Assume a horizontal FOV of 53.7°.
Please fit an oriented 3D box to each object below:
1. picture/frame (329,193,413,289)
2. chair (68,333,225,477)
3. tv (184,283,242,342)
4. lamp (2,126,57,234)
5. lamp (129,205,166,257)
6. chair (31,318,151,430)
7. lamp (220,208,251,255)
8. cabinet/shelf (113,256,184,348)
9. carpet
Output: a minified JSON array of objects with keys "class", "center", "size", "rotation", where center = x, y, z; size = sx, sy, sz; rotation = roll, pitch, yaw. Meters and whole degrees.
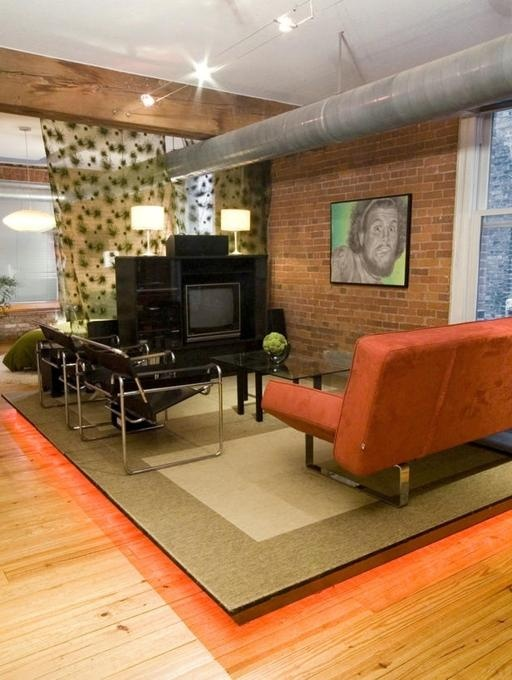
[{"class":"picture/frame","center":[1.249,-1.089,5.514],"size":[1.218,0.922,0.030],"rotation":[-12,16,-32]},{"class":"chair","center":[-0.831,0.434,3.664],"size":[0.767,0.673,1.123],"rotation":[-3,2,-33]},{"class":"tv","center":[-0.545,-0.343,6.105],"size":[0.743,0.564,0.367],"rotation":[-5,9,-35]},{"class":"lamp","center":[-3.798,-2.500,8.289],"size":[0.842,1.352,2.773],"rotation":[-5,8,-20]},{"class":"lamp","center":[-1.272,-1.283,5.996],"size":[0.397,0.521,0.550],"rotation":[-3,7,-11]},{"class":"chair","center":[-1.380,0.306,4.248],"size":[0.357,0.488,0.961],"rotation":[-6,12,-33]},{"class":"lamp","center":[-0.271,-1.415,6.639],"size":[0.346,0.616,0.632],"rotation":[-3,7,-7]},{"class":"cabinet/shelf","center":[-1.305,-0.420,5.901],"size":[0.586,1.053,0.656],"rotation":[10,13,42]},{"class":"carpet","center":[0.083,0.800,2.968],"size":[1.757,0.141,2.076],"rotation":[-6,8,-33]}]
